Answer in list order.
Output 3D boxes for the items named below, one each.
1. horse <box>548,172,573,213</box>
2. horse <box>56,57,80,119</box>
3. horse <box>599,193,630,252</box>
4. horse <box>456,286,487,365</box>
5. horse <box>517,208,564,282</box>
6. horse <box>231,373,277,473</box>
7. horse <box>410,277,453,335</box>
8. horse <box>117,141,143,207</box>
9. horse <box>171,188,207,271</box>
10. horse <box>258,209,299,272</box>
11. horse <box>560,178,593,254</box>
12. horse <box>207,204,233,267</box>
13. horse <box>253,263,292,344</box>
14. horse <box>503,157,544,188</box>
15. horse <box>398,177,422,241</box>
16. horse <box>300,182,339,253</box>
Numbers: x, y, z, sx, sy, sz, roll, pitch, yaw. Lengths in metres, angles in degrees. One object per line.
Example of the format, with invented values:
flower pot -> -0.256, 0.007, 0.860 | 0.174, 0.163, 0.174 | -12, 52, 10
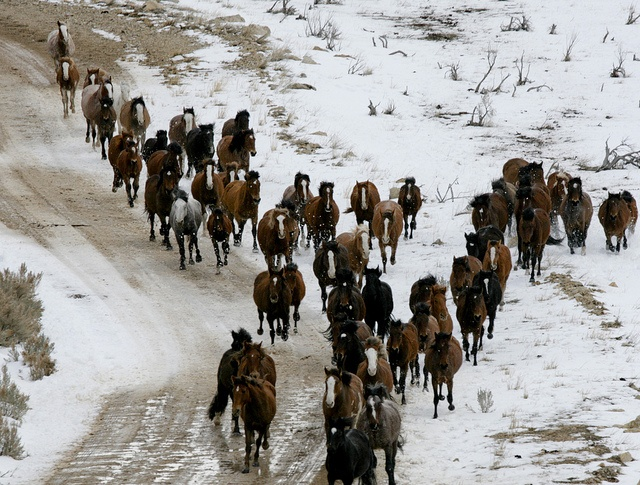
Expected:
horse -> 8.979, -1.993, 40.897 | 0.513, 1.087, 1.934 | 2, 42, 12
horse -> -11.441, -7.096, 49.332 | 0.907, 2.638, 1.585 | -1, 15, -14
horse -> 10.714, -0.736, 39.724 | 0.974, 2.175, 0.835 | -4, 16, -25
horse -> 4.778, 2.603, 34.623 | 0.858, 2.454, 0.884 | 6, 15, 12
horse -> 7.490, -0.035, 38.551 | 1.025, 2.500, 1.756 | 7, 15, 15
horse -> -1.846, 5.047, 30.670 | 1.317, 2.524, 0.963 | -8, 18, -37
horse -> 3.567, 1.835, 34.349 | 0.733, 1.723, 2.604 | -7, 16, 0
horse -> -7.358, -2.776, 42.645 | 0.925, 2.663, 1.270 | 8, 15, 20
horse -> -4.861, -0.524, 39.107 | 1.077, 2.631, 1.482 | 9, 16, 22
horse -> -1.497, -0.240, 37.778 | 1.099, 2.144, 1.730 | 1, 15, -7
horse -> 9.427, -1.011, 39.853 | 1.035, 2.754, 0.908 | -3, 15, -21
horse -> -3.549, -0.157, 38.926 | 0.754, 2.218, 1.049 | -3, 15, -20
horse -> -1.541, 2.002, 35.089 | 0.903, 2.548, 1.143 | -11, 19, -42
horse -> 7.772, -2.716, 41.984 | 0.654, 1.574, 2.492 | -16, 16, 1
horse -> 3.372, -1.355, 41.151 | 0.743, 2.431, 1.408 | 7, 15, 16
horse -> -0.003, -1.028, 39.574 | 1.088, 2.605, 0.881 | 10, 16, 26
